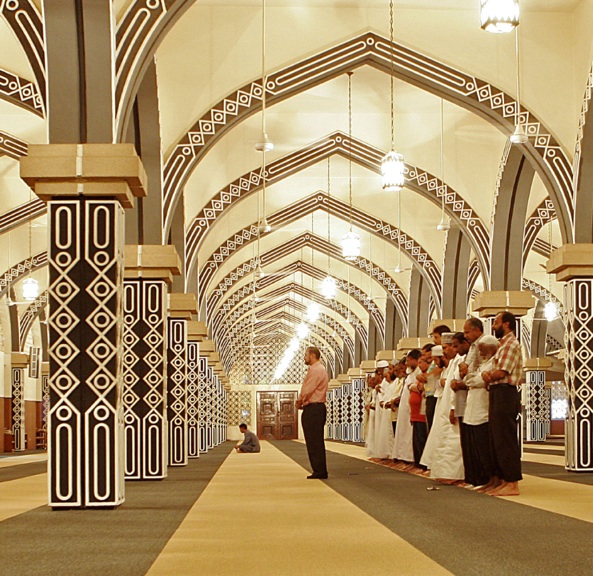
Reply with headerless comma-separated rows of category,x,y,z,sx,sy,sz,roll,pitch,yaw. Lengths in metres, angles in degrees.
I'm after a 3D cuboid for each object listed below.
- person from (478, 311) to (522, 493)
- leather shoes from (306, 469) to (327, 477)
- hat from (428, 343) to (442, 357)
person,1.901,1.047,6.654,0.376,1.678,0.595,-2,-10,15
leather shoes,0.238,2.278,8.694,0.270,0.130,0.100,2,-13,9
hat,1.629,0.732,8.384,0.151,0.140,0.118,-6,8,-40
